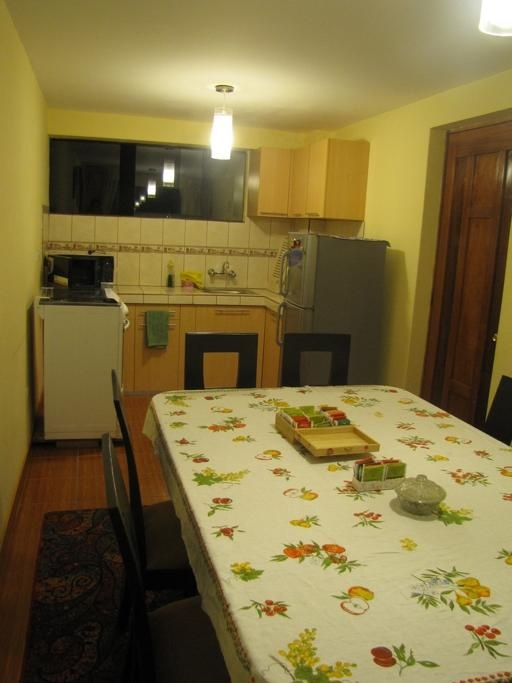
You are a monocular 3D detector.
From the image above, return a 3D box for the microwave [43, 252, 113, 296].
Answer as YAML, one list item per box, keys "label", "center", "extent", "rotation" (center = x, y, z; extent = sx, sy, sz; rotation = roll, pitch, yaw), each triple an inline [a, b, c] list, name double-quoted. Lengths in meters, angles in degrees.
- label: "microwave"
  center: [-1.439, -0.567, 4.377]
  extent: [0.582, 0.367, 0.420]
  rotation: [-1, 8, -17]

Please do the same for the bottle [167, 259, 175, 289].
- label: "bottle"
  center: [-0.879, -0.697, 5.463]
  extent: [0.088, 0.263, 0.150]
  rotation: [2, 9, -3]

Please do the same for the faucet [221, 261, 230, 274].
- label: "faucet"
  center: [-0.320, -0.800, 5.687]
  extent: [0.108, 0.144, 0.111]
  rotation: [7, 28, 8]

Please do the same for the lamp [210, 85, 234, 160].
- label: "lamp"
  center: [-0.230, -1.514, 3.686]
  extent: [0.154, 0.465, 0.150]
  rotation: [1, 24, -7]
